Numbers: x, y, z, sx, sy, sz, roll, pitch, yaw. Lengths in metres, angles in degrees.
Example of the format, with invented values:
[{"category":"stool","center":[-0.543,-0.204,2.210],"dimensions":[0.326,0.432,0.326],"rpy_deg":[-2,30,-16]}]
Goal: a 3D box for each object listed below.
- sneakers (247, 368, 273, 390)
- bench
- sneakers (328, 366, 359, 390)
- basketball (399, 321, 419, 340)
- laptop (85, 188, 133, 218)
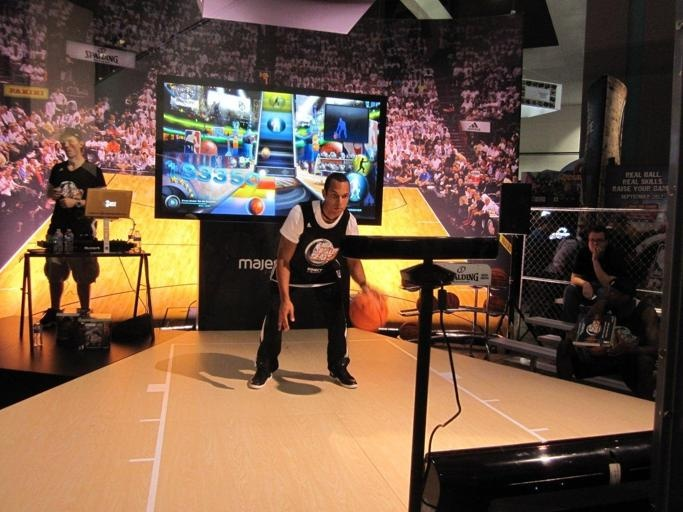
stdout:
[{"category":"sneakers","center":[-0.636,0.962,4.127],"dimensions":[0.123,0.124,0.332],"rpy_deg":[4,9,22]},{"category":"bench","center":[2.373,0.840,4.570],"dimensions":[0.946,0.628,0.949],"rpy_deg":[-6,11,-39]},{"category":"sneakers","center":[0.009,0.997,4.200],"dimensions":[0.099,0.130,0.295],"rpy_deg":[-3,3,-30]},{"category":"basketball","center":[0.838,0.936,6.410],"dimensions":[0.216,0.196,0.374],"rpy_deg":[2,9,5]},{"category":"laptop","center":[-2.379,-0.572,5.185],"dimensions":[0.418,0.318,0.301],"rpy_deg":[1,7,-26]}]
